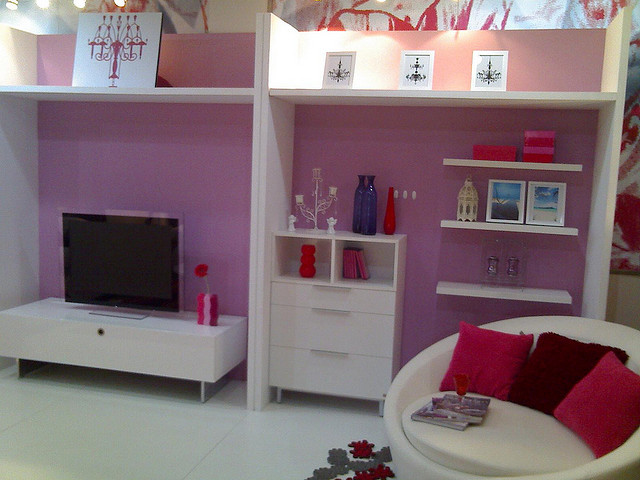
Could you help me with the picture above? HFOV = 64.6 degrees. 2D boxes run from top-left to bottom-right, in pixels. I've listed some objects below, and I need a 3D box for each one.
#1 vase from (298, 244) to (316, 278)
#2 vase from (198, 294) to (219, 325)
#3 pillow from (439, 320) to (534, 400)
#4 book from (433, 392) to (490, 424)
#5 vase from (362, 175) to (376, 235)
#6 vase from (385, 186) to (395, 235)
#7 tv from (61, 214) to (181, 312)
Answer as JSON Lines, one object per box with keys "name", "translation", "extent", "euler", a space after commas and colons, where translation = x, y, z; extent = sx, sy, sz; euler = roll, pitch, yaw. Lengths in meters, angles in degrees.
{"name": "vase", "translation": [-0.101, 0.159, 3.953], "extent": [0.118, 0.255, 0.117], "euler": [0, 11, -11]}
{"name": "vase", "translation": [-0.901, 0.533, 4.084], "extent": [0.196, 0.287, 0.184], "euler": [4, 16, -7]}
{"name": "pillow", "translation": [1.056, 0.762, 3.197], "extent": [0.449, 0.434, 0.136], "euler": [10, -24, 33]}
{"name": "book", "translation": [0.813, 0.981, 2.969], "extent": [0.277, 0.057, 0.294], "euler": [-3, 1, 17]}
{"name": "vase", "translation": [0.378, -0.269, 3.885], "extent": [0.115, 0.443, 0.099], "euler": [2, 11, 1]}
{"name": "vase", "translation": [0.540, -0.229, 3.924], "extent": [0.069, 0.357, 0.092], "euler": [2, 11, 4]}
{"name": "tv", "translation": [-1.677, 0.159, 4.193], "extent": [1.001, 0.739, 0.039], "euler": [3, 3, 5]}
